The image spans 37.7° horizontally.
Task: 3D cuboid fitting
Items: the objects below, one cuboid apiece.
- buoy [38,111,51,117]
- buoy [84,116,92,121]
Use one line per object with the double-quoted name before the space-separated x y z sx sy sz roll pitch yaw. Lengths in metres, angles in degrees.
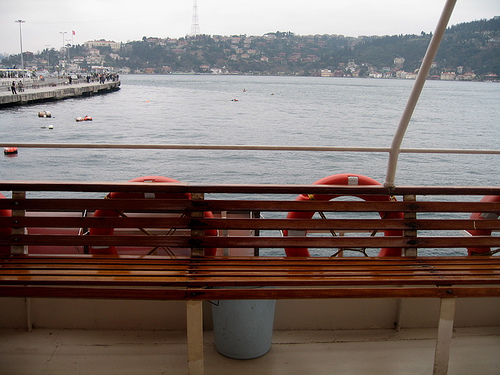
"buoy" -12.655 -4.495 44.950 0.810 0.280 0.773 3 7 34
"buoy" -9.597 -4.047 43.187 0.422 0.155 0.355 0 5 -2
